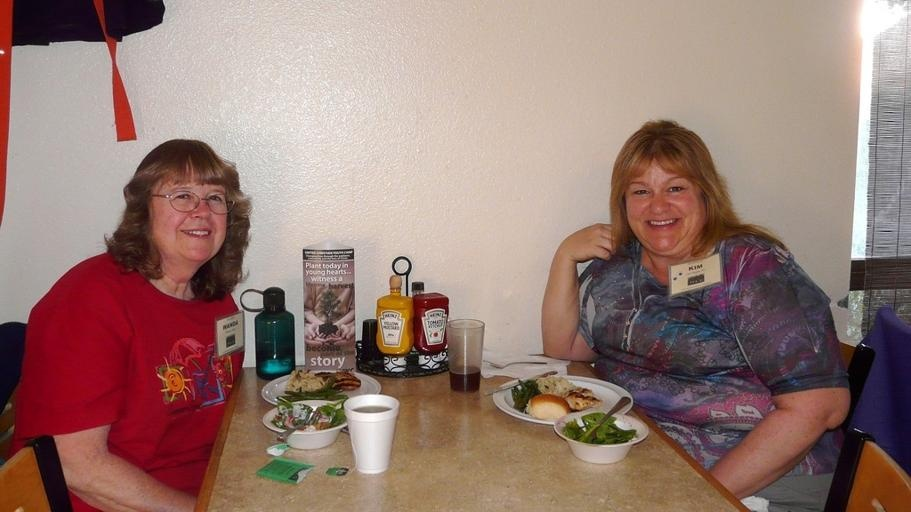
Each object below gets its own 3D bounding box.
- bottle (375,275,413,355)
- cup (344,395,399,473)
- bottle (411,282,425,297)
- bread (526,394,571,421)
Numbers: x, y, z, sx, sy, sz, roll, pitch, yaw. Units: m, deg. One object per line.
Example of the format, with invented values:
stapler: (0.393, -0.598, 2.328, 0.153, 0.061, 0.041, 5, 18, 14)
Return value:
bottle: (-0.254, 0.245, 2.557, 0.163, 0.327, 0.086, -4, 8, -7)
cup: (-0.269, 0.578, 2.021, 0.171, 0.233, 0.121, -5, 8, -11)
bottle: (-0.159, 0.143, 2.647, 0.062, 0.052, 0.057, 0, 2, -3)
bread: (0.336, 0.547, 2.223, 0.107, 0.049, 0.103, 5, 7, 36)
